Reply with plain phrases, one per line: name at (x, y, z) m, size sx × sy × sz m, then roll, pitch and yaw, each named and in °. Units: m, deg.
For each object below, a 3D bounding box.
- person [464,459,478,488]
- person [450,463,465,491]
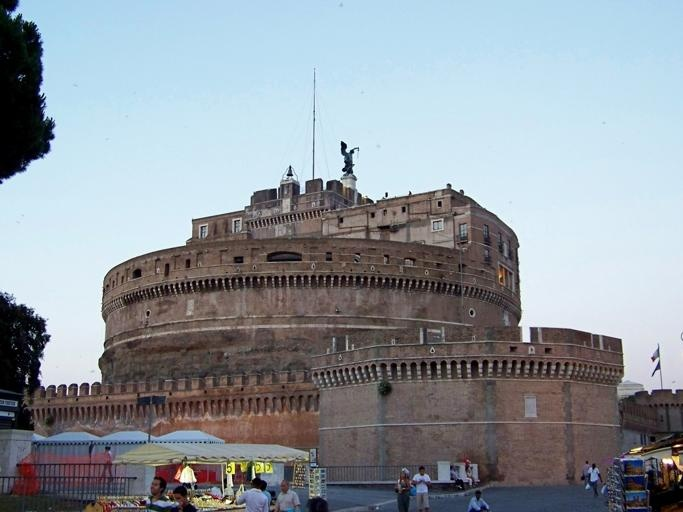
person at (5.945, 10.061, 41.940) m, size 0.819 × 0.908 × 0.508 m, roll -2°, pitch 9°, yaw 9°
person at (5.238, 9.991, 41.191) m, size 0.631 × 1.198 × 0.657 m, roll -4°, pitch -19°, yaw 11°
